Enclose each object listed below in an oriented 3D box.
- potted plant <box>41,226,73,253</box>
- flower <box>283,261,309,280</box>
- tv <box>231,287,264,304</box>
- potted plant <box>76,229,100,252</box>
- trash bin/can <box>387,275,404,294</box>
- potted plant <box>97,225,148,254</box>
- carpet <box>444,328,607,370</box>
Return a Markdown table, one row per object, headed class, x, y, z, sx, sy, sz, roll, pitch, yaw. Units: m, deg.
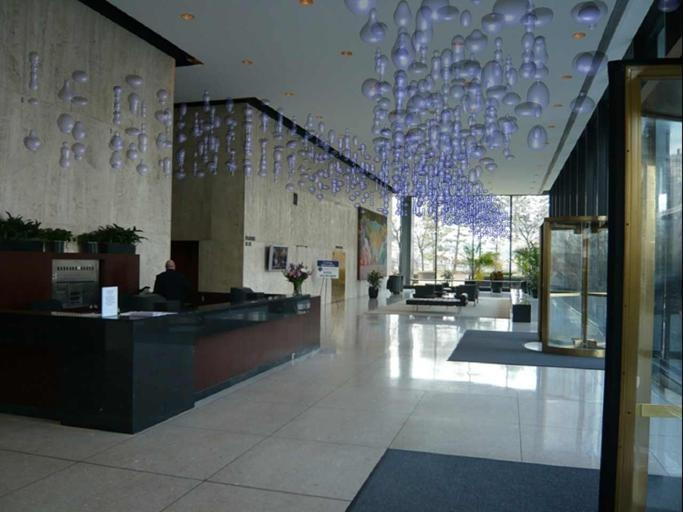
| class | x | y | z | sx | sy | sz | roll | pitch | yaw |
| --- | --- | --- | --- | --- | --- | --- | --- | --- | --- |
| potted plant | -3.856 | -0.207 | 7.434 | 0.296 | 0.318 | 0.474 | -1 | 4 | -22 |
| flower | -0.847 | 0.297 | 10.253 | 0.537 | 0.487 | 0.538 | 1 | -1 | -2 |
| tv | -1.476 | 0.569 | 8.496 | 0.416 | 0.184 | 0.496 | 0 | 3 | 2 |
| potted plant | -3.822 | -0.222 | 8.311 | 0.279 | 0.316 | 0.289 | -1 | -1 | -12 |
| trash bin/can | 2.630 | 1.342 | 26.118 | 0.854 | 0.882 | 0.649 | 5 | 1 | 45 |
| potted plant | -3.495 | -0.263 | 8.602 | 0.393 | 0.447 | 0.709 | 3 | 4 | 38 |
| carpet | 3.256 | 1.712 | 10.378 | 2.421 | 0.145 | 3.320 | 1 | 3 | 9 |
